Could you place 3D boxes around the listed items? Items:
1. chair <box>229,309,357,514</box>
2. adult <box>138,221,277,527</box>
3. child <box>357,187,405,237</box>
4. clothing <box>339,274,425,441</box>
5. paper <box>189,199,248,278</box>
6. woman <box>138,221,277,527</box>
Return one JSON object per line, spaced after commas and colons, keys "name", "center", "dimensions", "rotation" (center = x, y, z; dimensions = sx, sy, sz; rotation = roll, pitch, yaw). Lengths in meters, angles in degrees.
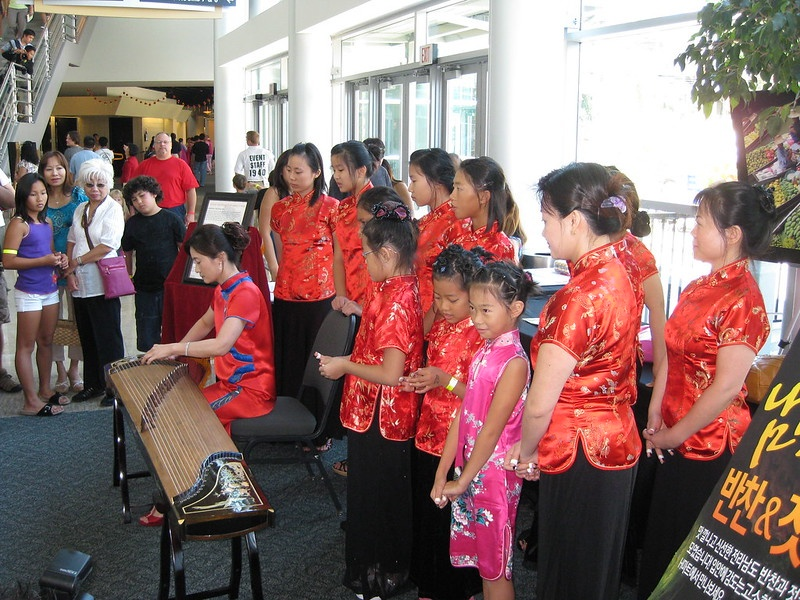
{"name": "chair", "center": [-0.651, 0.609, 3.424], "dimensions": [0.685, 1.116, 0.728], "rotation": [5, 3, 0]}
{"name": "adult", "center": [-1.006, 0.376, 3.345], "dimensions": [0.664, 1.603, 0.653], "rotation": [-2, 5, -27]}
{"name": "child", "center": [-0.104, -0.414, 2.989], "dimensions": [0.181, 0.303, 0.277], "rotation": [-8, 0, 1]}
{"name": "clothing", "center": [-0.059, 0.203, 2.694], "dimensions": [0.298, 0.685, 0.599], "rotation": [5, 19, -3]}
{"name": "paper", "center": [-1.212, -0.495, 4.310], "dimensions": [0.356, 0.567, 0.042], "rotation": [4, -26, -1]}
{"name": "woman", "center": [-0.977, 0.362, 3.372], "dimensions": [0.654, 1.546, 0.635], "rotation": [-7, 9, -23]}
